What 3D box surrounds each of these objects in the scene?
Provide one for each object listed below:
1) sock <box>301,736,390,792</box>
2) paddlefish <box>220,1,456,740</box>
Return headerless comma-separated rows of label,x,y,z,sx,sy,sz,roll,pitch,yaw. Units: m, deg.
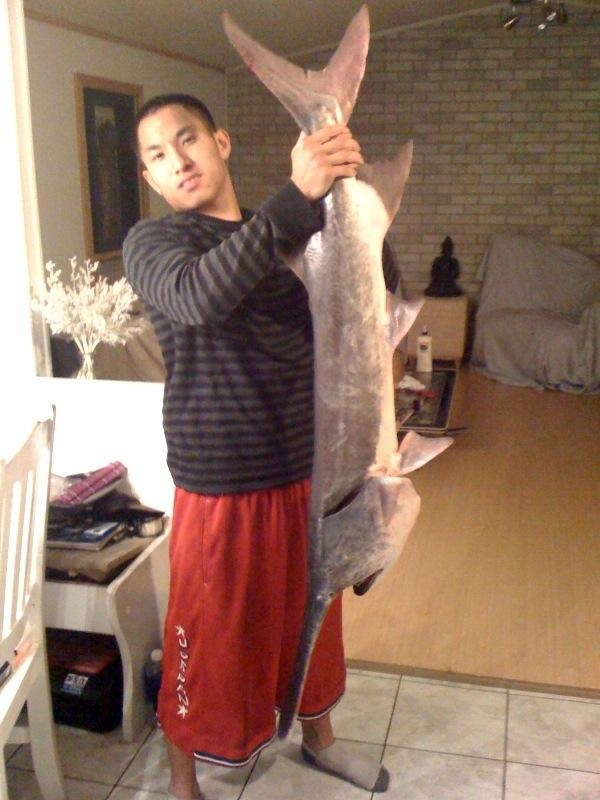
sock,0.090,0.720,1.381,0.189,0.068,0.076,5,10,28
paddlefish,0.044,0.012,0.606,0.139,0.633,0.174,-3,25,1
